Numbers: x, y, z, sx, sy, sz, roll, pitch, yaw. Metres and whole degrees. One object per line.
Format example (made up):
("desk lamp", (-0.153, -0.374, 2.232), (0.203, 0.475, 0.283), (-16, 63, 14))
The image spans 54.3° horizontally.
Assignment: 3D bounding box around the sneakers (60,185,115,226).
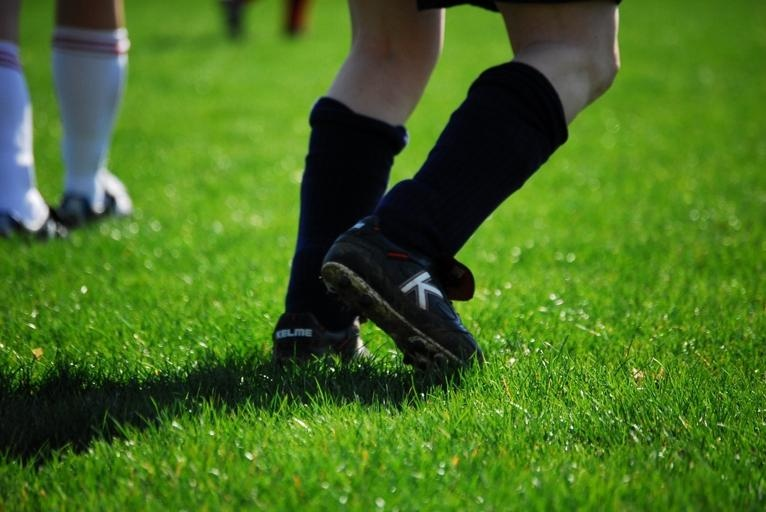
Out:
("sneakers", (-1.696, -0.266, 4.271), (0.388, 0.135, 0.170), (-29, 89, -48))
